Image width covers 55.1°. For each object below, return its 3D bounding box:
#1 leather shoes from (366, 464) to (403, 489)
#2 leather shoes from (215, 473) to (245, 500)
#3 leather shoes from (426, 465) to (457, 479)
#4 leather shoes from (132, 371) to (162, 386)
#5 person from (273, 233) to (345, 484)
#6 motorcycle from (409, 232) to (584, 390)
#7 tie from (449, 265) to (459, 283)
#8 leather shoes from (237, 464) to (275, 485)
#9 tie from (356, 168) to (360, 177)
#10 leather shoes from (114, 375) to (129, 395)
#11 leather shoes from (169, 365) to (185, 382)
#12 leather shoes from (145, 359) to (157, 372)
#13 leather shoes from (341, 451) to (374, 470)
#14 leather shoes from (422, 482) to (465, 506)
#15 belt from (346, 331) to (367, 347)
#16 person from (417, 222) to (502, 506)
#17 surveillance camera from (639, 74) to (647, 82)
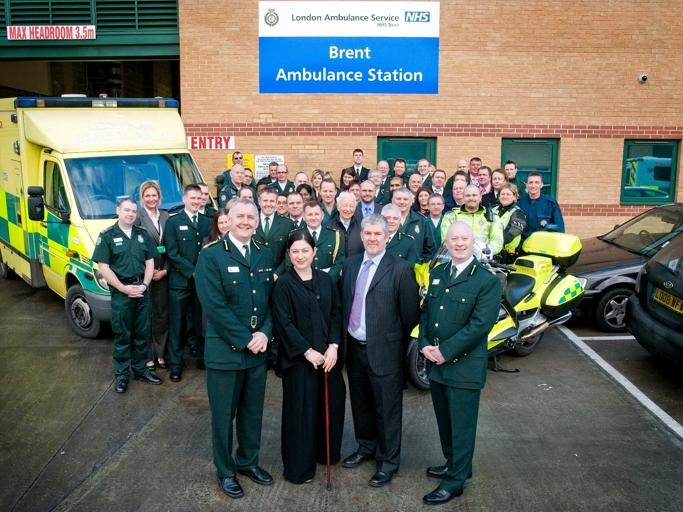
[{"bbox_3d":[0.447,2.241,6.626,0.128,0.159,0.354,-2,-3,38],"label":"leather shoes"},{"bbox_3d":[-1.084,2.276,6.442,0.121,0.132,0.302,-4,8,-41],"label":"leather shoes"},{"bbox_3d":[1.023,2.197,6.688,0.295,0.119,0.110,2,12,1],"label":"leather shoes"},{"bbox_3d":[-2.517,1.590,8.639,0.427,0.199,0.161,3,11,14],"label":"leather shoes"},{"bbox_3d":[-0.317,1.011,6.578,0.700,2.444,0.792,-3,18,-6],"label":"person"},{"bbox_3d":[2.126,0.519,9.237,3.402,2.043,1.354,-6,9,-33],"label":"motorcycle"},{"bbox_3d":[1.085,0.167,6.356,0.091,0.132,0.033,-7,-19,37],"label":"tie"},{"bbox_3d":[-0.873,2.213,6.706,0.399,0.138,0.157,15,15,24],"label":"leather shoes"},{"bbox_3d":[0.351,-1.700,13.359,0.094,0.010,0.248,-1,40,-2],"label":"tie"},{"bbox_3d":[-2.813,1.634,8.374,0.188,0.166,0.320,-8,20,-20],"label":"leather shoes"},{"bbox_3d":[-2.188,1.570,8.678,0.197,0.189,0.413,1,-1,-14],"label":"leather shoes"},{"bbox_3d":[-2.609,1.504,8.969,0.121,0.069,0.091,-20,-21,34],"label":"leather shoes"},{"bbox_3d":[0.157,2.139,6.908,0.379,0.155,0.127,0,3,-38],"label":"leather shoes"},{"bbox_3d":[0.991,2.286,6.382,0.416,0.159,0.160,-6,14,-20],"label":"leather shoes"},{"bbox_3d":[0.151,0.869,6.769,0.173,0.061,0.129,9,-4,-16],"label":"belt"},{"bbox_3d":[1.117,1.033,6.303,0.748,2.559,0.960,2,19,7],"label":"person"},{"bbox_3d":[6.613,-3.883,14.318,0.215,0.199,0.073,-4,19,-10],"label":"surveillance camera"}]
